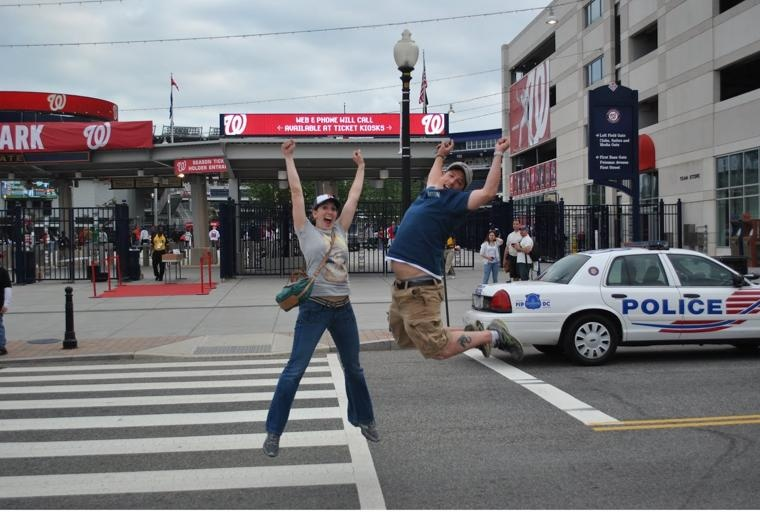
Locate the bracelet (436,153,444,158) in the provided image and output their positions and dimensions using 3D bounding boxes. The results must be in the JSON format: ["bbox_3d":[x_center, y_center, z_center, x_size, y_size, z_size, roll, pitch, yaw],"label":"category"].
[{"bbox_3d":[0.815,-1.366,9.588,0.084,0.034,0.070,7,-3,-20],"label":"bracelet"}]

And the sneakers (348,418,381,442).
[{"bbox_3d":[-0.215,2.246,9.213,0.459,0.212,0.158,34,25,17],"label":"sneakers"}]

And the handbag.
[{"bbox_3d":[-0.904,0.203,8.854,0.777,0.911,0.328,-4,8,-16],"label":"handbag"}]

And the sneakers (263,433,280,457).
[{"bbox_3d":[-1.319,2.298,8.632,0.187,0.304,0.200,-3,8,-12],"label":"sneakers"}]

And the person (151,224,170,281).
[{"bbox_3d":[-8.059,-0.112,26.049,0.514,2.008,0.759,-4,8,-19],"label":"person"}]
